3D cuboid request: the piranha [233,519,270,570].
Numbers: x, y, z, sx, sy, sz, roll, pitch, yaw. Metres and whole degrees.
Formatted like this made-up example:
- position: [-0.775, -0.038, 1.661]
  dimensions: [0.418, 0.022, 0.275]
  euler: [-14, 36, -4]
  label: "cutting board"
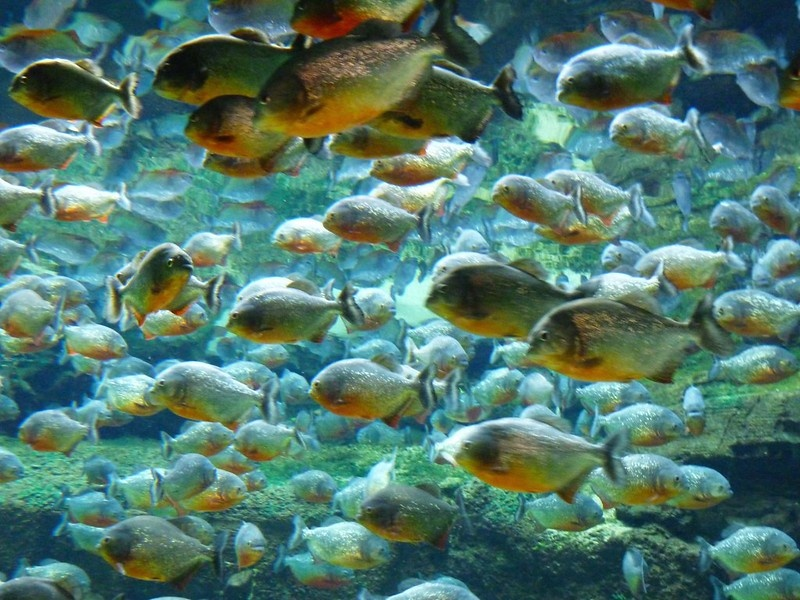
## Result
- position: [-1.763, 2.863, 9.093]
  dimensions: [0.378, 0.474, 0.269]
  euler: [3, -2, 42]
  label: "piranha"
